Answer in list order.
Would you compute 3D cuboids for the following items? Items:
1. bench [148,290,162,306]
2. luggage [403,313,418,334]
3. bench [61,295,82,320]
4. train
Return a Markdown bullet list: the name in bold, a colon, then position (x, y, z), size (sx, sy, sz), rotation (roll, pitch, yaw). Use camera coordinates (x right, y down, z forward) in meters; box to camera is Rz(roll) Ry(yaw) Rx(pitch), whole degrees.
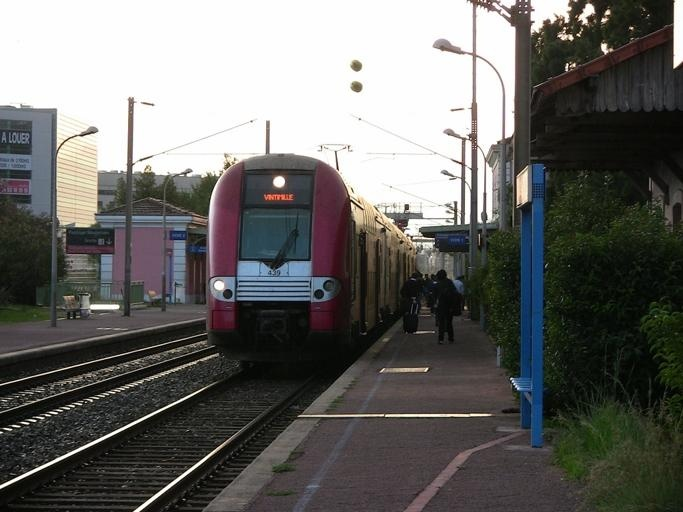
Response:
- **bench**: position (-11.483, 2.594, 50.142), size (0.638, 0.951, 0.779), rotation (4, -10, -29)
- **luggage**: position (2.228, 2.155, 26.043), size (0.484, 0.824, 0.410), rotation (3, 18, 5)
- **bench**: position (-11.690, 2.274, 35.403), size (0.748, 1.258, 1.021), rotation (-1, -7, -10)
- **train**: position (-0.214, -0.072, 19.341), size (2.539, 4.744, 8.301), rotation (-5, 4, 18)
